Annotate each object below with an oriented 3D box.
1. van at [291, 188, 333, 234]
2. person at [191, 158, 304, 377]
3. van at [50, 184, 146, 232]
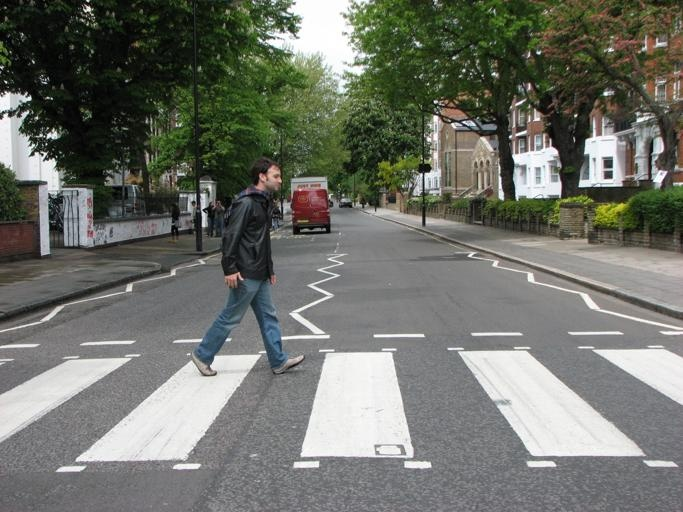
[{"bbox_3d":[-1.882,-2.923,41.448,2.588,2.872,5.061,-2,2,-1],"label":"van"},{"bbox_3d":[-1.065,0.127,7.151,1.139,2.476,0.461,-2,5,-13],"label":"person"},{"bbox_3d":[-10.932,-2.339,28.831,2.345,2.228,4.127,2,9,15],"label":"van"}]
